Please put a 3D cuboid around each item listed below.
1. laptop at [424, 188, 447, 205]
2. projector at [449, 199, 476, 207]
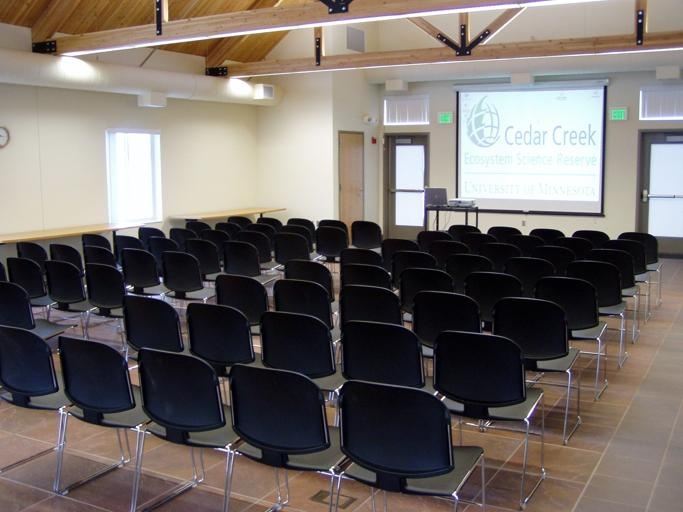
[{"bbox_3d":[2.148,-1.327,12.238,0.568,0.406,0.192,10,15,41],"label":"laptop"},{"bbox_3d":[2.706,-1.174,12.174,0.576,0.184,0.333,2,11,8],"label":"projector"}]
